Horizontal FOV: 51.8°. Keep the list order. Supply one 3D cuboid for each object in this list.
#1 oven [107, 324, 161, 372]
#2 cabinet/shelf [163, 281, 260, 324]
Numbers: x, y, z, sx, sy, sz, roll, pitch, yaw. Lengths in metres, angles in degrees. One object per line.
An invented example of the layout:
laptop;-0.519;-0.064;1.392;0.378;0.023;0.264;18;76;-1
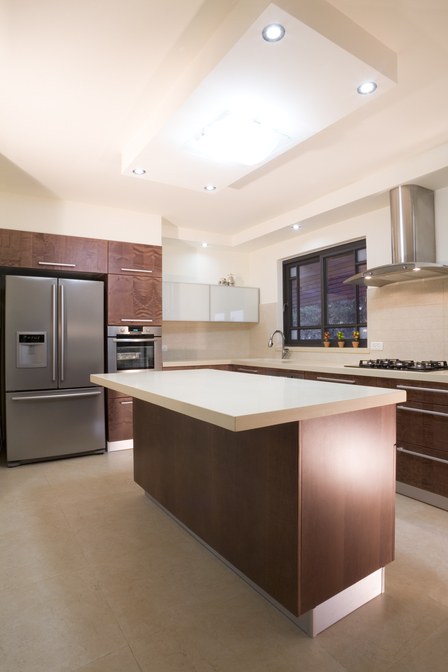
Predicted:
oven;-0.869;0.118;4.568;0.452;0.484;0.324;0;6;-7
cabinet/shelf;-0.130;-0.386;5.280;1.252;0.411;0.111;-2;1;-36
